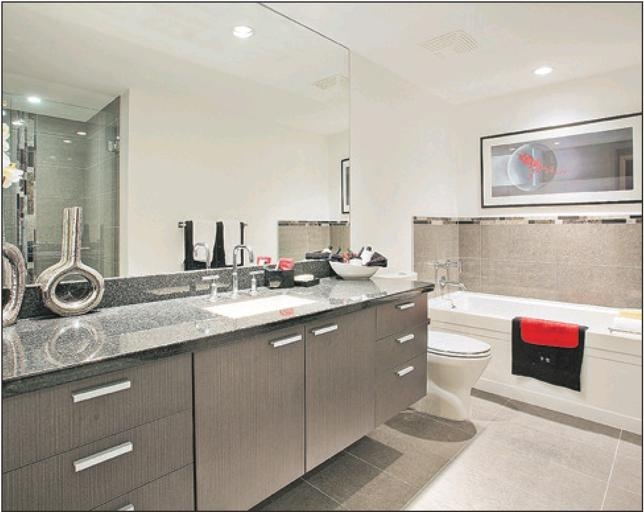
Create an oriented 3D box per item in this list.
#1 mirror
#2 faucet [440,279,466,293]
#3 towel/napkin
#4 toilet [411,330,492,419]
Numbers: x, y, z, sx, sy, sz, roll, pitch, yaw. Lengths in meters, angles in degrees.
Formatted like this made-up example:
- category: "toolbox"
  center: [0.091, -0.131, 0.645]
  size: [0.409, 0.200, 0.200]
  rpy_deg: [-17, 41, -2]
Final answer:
- category: "mirror"
  center: [-0.803, -0.591, 2.434]
  size: [1.634, 1.199, 0.030]
  rpy_deg: [-3, 4, -43]
- category: "faucet"
  center: [1.287, 0.289, 4.385]
  size: [0.118, 0.118, 0.321]
  rpy_deg: [1, -7, -29]
- category: "towel/napkin"
  center: [1.578, 0.697, 3.193]
  size: [0.498, 0.498, 0.200]
  rpy_deg: [2, -2, 43]
- category: "toilet"
  center: [0.903, 0.841, 3.157]
  size: [0.437, 0.524, 0.554]
  rpy_deg: [-8, 7, -37]
